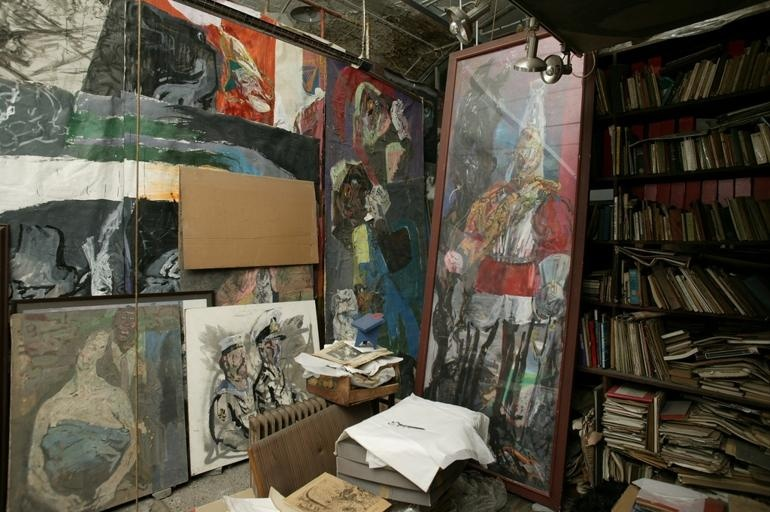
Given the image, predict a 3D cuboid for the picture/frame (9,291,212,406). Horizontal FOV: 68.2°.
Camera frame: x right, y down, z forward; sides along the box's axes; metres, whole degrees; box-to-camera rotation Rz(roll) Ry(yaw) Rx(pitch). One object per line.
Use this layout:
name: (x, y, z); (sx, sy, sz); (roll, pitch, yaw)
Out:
picture/frame: (-2.138, 0.722, 4.296); (0.931, 0.576, 0.034); (-2, -16, -34)
